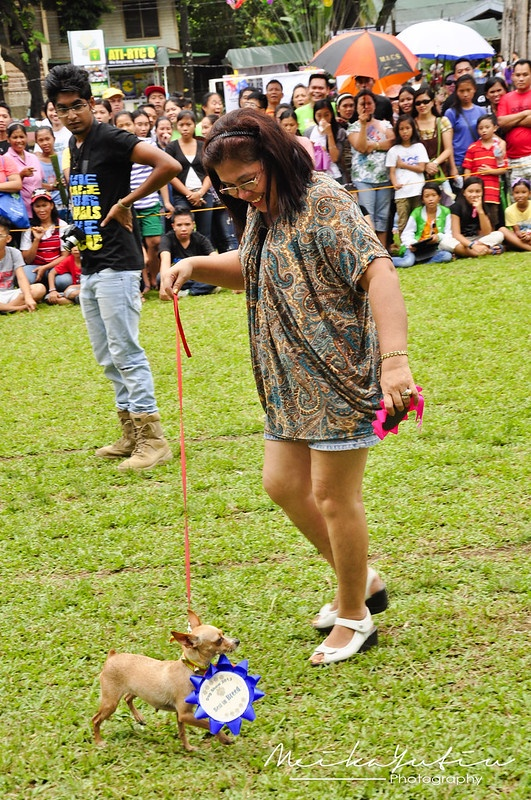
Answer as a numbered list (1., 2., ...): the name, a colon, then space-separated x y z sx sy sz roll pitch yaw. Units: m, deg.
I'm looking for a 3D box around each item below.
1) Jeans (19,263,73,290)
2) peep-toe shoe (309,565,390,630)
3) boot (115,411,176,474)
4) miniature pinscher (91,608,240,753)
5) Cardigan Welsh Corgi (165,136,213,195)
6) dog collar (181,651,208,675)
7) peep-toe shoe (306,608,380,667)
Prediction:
1. Jeans: -2.488 -1.425 8.535 0.394 0.325 0.132 5 33 -4
2. peep-toe shoe: 0.264 0.657 2.404 0.305 0.177 0.096 -15 14 -20
3. boot: -0.773 0.210 4.416 0.361 0.336 0.276 -12 27 -35
4. miniature pinscher: -0.272 0.726 1.874 0.389 0.389 0.146 0 20 20
5. Cardigan Welsh Corgi: -0.880 -2.761 8.416 0.541 0.525 0.295 -5 17 -2
6. dog collar: -0.175 0.663 1.846 0.023 0.062 0.052 -53 -5 -4
7. peep-toe shoe: 0.258 0.749 2.290 0.264 0.103 0.085 -18 -1 -28
